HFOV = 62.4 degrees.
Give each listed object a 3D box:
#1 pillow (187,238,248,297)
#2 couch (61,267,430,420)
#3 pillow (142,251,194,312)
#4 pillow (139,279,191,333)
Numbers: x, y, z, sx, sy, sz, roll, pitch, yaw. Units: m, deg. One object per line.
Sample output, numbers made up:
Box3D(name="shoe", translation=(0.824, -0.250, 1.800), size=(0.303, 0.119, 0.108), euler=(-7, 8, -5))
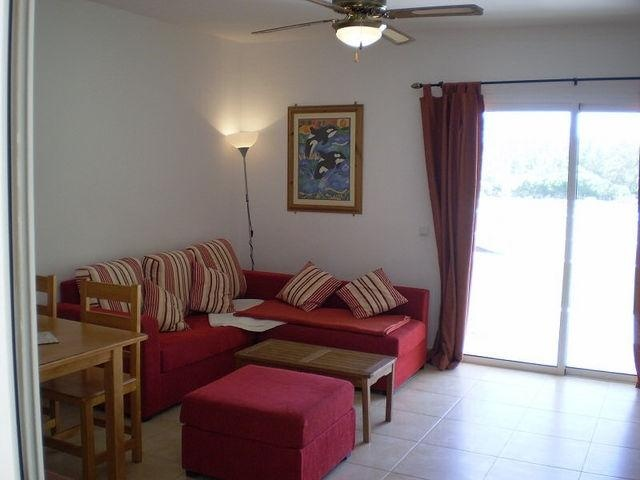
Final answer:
Box3D(name="pillow", translation=(-1.022, 0.335, 5.058), size=(0.189, 0.528, 0.528), euler=(-26, -13, 22))
Box3D(name="couch", translation=(-0.415, 0.833, 3.988), size=(1.390, 0.637, 1.608), euler=(1, 4, 30))
Box3D(name="pillow", translation=(-1.283, 0.399, 4.599), size=(0.215, 0.608, 0.625), euler=(6, 10, 16))
Box3D(name="pillow", translation=(-1.167, 0.486, 4.040), size=(0.113, 0.361, 0.379), euler=(-23, -29, 27))
